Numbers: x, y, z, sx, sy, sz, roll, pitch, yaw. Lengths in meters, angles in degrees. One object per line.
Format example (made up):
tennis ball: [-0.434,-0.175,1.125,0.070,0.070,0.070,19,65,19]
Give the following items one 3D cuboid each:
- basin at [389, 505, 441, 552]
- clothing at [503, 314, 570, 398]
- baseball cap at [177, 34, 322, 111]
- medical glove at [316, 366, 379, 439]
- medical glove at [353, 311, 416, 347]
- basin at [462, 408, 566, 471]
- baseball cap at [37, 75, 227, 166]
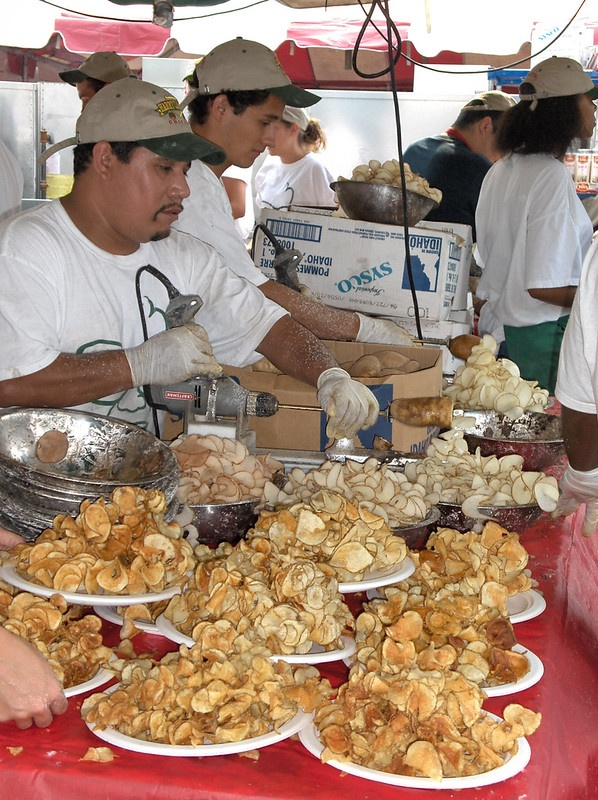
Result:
basin: [0.223,0.254,1.288,0.098,0.052,0.091,-2,7,0]
clothing: [1.196,-0.235,3.473,0.454,0.371,0.109,7,9,34]
baseball cap: [-0.168,-1.188,2.624,0.504,0.251,0.309,-3,18,2]
medical glove: [0.121,0.004,1.764,0.148,0.167,0.084,-5,-1,2]
medical glove: [0.330,-0.261,2.673,0.224,0.059,0.152,10,13,-4]
basin: [0.643,0.104,2.223,0.318,0.103,0.320,-5,-3,0]
baseball cap: [-0.459,-0.757,1.863,0.495,0.217,0.270,8,25,16]
